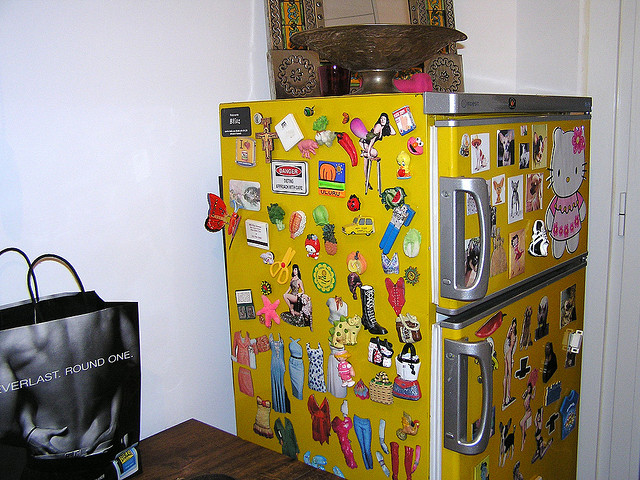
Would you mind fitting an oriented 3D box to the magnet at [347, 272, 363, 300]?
[{"bbox_3d":[0.098,0.124,1.445,0.035,0.081,0.029,0,13,21],"label":"magnet"}]

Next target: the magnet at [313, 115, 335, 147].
[{"bbox_3d":[0.008,-0.304,1.424,0.072,0.087,0.015,8,15,44],"label":"magnet"}]

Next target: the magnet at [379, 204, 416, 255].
[{"bbox_3d":[0.209,-0.031,1.346,0.061,0.134,0.013,36,21,26],"label":"magnet"}]

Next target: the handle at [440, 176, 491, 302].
[{"bbox_3d":[0.387,-0.010,1.337,0.149,0.322,0.123,-5,7,-41],"label":"handle"}]

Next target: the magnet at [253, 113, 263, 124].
[{"bbox_3d":[-0.196,-0.373,1.559,0.026,0.030,0.006,3,5,45],"label":"magnet"}]

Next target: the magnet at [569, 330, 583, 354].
[{"bbox_3d":[0.915,0.361,1.803,0.040,0.086,0.018,8,-1,18],"label":"magnet"}]

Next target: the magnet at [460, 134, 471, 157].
[{"bbox_3d":[0.369,-0.242,1.292,0.041,0.077,0.007,-18,28,-40],"label":"magnet"}]

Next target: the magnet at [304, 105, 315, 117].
[{"bbox_3d":[-0.034,-0.366,1.448,0.018,0.030,0.014,15,-17,5],"label":"magnet"}]

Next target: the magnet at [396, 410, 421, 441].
[{"bbox_3d":[0.244,0.520,1.414,0.063,0.098,0.020,9,24,22],"label":"magnet"}]

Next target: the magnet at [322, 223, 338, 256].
[{"bbox_3d":[0.032,0.008,1.477,0.043,0.085,0.047,-4,-19,13],"label":"magnet"}]

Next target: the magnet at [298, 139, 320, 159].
[{"bbox_3d":[-0.036,-0.260,1.464,0.047,0.056,0.014,-9,1,33],"label":"magnet"}]

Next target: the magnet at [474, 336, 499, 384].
[{"bbox_3d":[0.478,0.327,1.452,0.076,0.147,0.039,4,-4,-24],"label":"magnet"}]

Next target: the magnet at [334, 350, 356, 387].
[{"bbox_3d":[0.073,0.382,1.506,0.060,0.111,0.048,-8,10,36],"label":"magnet"}]

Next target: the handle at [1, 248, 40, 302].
[{"bbox_3d":[-0.831,0.089,1.395,0.087,0.176,0.028,-8,-3,1],"label":"handle"}]

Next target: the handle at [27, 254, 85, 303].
[{"bbox_3d":[-0.749,0.108,1.407,0.122,0.031,0.181,-7,40,-44],"label":"handle"}]

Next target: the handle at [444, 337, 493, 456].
[{"bbox_3d":[0.396,0.415,1.355,0.121,0.304,0.070,1,11,19],"label":"handle"}]
